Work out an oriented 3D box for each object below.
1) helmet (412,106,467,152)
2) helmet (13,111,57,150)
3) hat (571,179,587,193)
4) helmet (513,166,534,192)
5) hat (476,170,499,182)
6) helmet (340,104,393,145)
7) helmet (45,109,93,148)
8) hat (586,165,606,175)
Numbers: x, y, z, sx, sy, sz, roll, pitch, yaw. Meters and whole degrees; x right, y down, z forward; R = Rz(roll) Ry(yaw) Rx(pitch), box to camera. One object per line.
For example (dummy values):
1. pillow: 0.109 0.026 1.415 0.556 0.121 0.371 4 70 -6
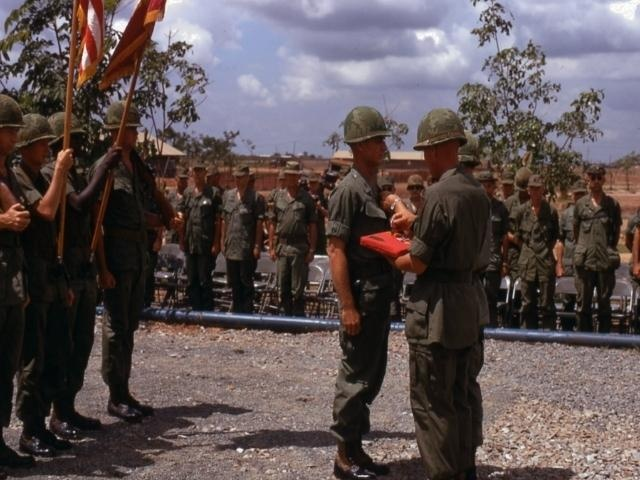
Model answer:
1. helmet: 0.871 -0.799 4.758 0.426 0.276 0.394 -9 -1 40
2. helmet: -2.221 -0.862 5.122 0.294 0.191 0.217 -5 4 6
3. hat: 4.127 -0.834 10.439 0.194 0.151 0.287 0 -9 8
4. helmet: 3.259 -0.986 10.495 0.276 0.404 0.217 1 -19 13
5. hat: 2.317 -0.876 9.145 0.240 0.134 0.348 1 -6 14
6. helmet: 0.369 -0.901 5.080 0.401 0.250 0.352 -7 20 6
7. helmet: -2.188 -0.953 5.561 0.445 0.291 0.330 -13 10 3
8. hat: 3.840 -0.957 9.171 0.201 0.074 0.221 -1 1 3
